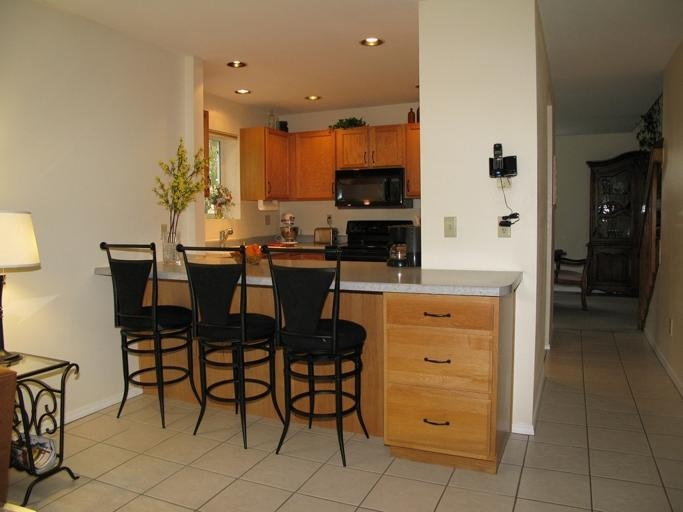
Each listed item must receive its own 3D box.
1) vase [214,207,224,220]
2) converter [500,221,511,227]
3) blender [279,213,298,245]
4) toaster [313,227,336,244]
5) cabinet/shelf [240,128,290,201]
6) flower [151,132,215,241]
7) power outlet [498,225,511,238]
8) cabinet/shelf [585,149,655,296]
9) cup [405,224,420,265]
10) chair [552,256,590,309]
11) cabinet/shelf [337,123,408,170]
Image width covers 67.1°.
[{"bbox_3d":[-1.454,-0.497,6.119,0.123,0.188,0.110,1,-2,-23],"label":"vase"},{"bbox_3d":[1.115,-0.212,3.501,0.074,0.039,0.025,1,9,8],"label":"converter"},{"bbox_3d":[-0.704,-0.374,6.868,0.264,0.376,0.331,-1,9,-2],"label":"blender"},{"bbox_3d":[-0.228,-0.259,6.730,0.310,0.259,0.192,4,9,23],"label":"toaster"},{"bbox_3d":[-0.924,-1.118,6.352,0.655,0.871,0.371,-3,9,-16],"label":"cabinet/shelf"},{"bbox_3d":[-1.352,-0.579,4.498,0.406,0.870,0.692,1,9,11],"label":"flower"},{"bbox_3d":[1.114,-0.166,3.515,0.073,0.077,0.010,5,13,24],"label":"power outlet"},{"bbox_3d":[4.476,-0.508,8.232,0.571,2.251,0.967,-3,5,-35],"label":"cabinet/shelf"},{"bbox_3d":[0.532,-0.069,3.821,0.108,0.297,0.050,1,9,11],"label":"cup"},{"bbox_3d":[3.584,0.312,8.021,0.487,0.771,1.904,4,9,25],"label":"chair"},{"bbox_3d":[0.359,-1.266,6.233,0.846,0.509,0.298,-2,-4,8],"label":"cabinet/shelf"}]
